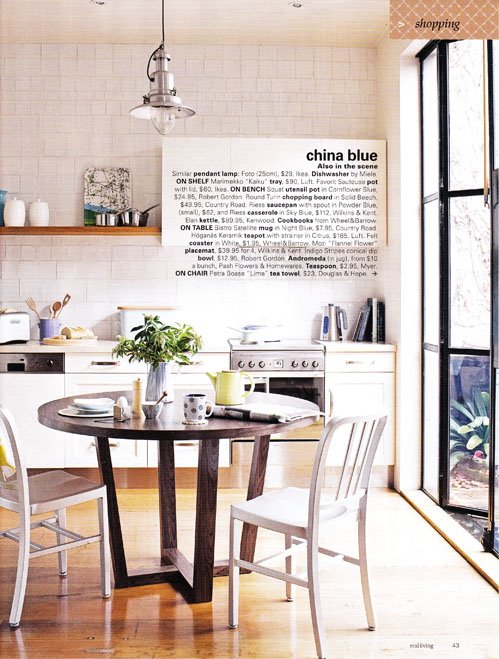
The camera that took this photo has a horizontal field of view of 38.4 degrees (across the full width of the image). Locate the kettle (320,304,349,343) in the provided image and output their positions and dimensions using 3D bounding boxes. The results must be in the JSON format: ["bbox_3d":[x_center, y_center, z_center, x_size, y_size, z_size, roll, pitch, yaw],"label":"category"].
[{"bbox_3d":[0.618,-0.037,4.744,0.142,0.269,0.245,0,4,-29],"label":"kettle"}]

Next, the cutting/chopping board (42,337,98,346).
[{"bbox_3d":[-1.053,0.072,4.265,0.299,0.046,0.147,-2,5,-20],"label":"cutting/chopping board"}]

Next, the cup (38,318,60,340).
[{"bbox_3d":[-1.238,0.002,4.534,0.126,0.137,0.181,-2,5,-26],"label":"cup"}]

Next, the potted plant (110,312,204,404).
[{"bbox_3d":[-0.367,0.086,2.847,0.351,0.401,0.334,2,-1,-18],"label":"potted plant"}]

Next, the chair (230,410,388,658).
[{"bbox_3d":[0.233,0.653,2.927,0.549,0.864,1.252,0,5,5],"label":"chair"}]

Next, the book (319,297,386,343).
[{"bbox_3d":[0.667,-0.059,4.706,0.407,0.285,0.397,1,5,5],"label":"book"}]

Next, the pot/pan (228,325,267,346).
[{"bbox_3d":[-0.023,0.036,4.387,0.180,0.080,0.117,1,2,-8],"label":"pot/pan"}]

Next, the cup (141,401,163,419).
[{"bbox_3d":[-0.353,0.298,2.635,0.055,0.046,0.057,0,-4,0],"label":"cup"}]

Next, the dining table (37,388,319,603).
[{"bbox_3d":[-0.276,0.627,2.730,0.831,0.599,0.863,3,-2,-37],"label":"dining table"}]

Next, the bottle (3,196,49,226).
[{"bbox_3d":[-1.389,-0.728,4.522,0.285,0.226,0.187,-1,1,-32],"label":"bottle"}]

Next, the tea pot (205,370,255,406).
[{"bbox_3d":[-0.068,0.230,2.845,0.122,0.139,0.255,4,6,39],"label":"tea pot"}]

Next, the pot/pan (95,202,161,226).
[{"bbox_3d":[-0.815,-0.711,4.614,0.299,0.125,0.188,0,4,-5],"label":"pot/pan"}]

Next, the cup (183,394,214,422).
[{"bbox_3d":[-0.182,0.279,2.587,0.098,0.104,0.175,0,5,-2],"label":"cup"}]
